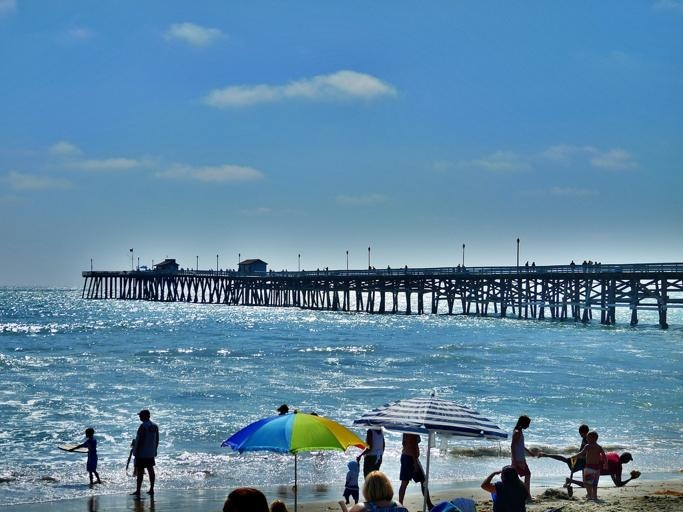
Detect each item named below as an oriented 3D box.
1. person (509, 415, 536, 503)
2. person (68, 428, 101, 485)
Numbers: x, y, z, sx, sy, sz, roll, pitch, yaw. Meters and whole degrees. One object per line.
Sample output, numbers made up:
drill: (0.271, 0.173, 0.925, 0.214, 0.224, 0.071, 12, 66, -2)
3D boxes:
person: (5.399, 6.090, 41.011, 0.840, 2.440, 0.913, 1, 0, 15)
person: (-8.122, 6.395, 43.758, 1.325, 1.689, 1.172, 1, -2, -15)
